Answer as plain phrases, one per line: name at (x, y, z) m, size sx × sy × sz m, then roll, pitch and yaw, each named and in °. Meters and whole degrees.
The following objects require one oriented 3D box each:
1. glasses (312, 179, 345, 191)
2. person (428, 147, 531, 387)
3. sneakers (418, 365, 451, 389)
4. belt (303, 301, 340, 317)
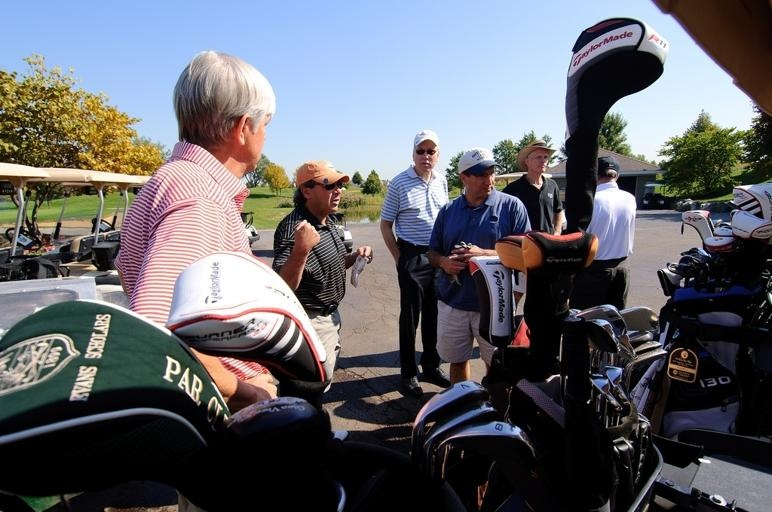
glasses at (-0.431, -0.518, 3.537) m, size 0.121 × 0.037 × 0.121 m, roll 6°, pitch -8°, yaw -41°
person at (0.743, 0.224, 3.907) m, size 0.887 × 2.119 × 0.693 m, roll 0°, pitch 16°, yaw 12°
sneakers at (0.487, 1.148, 4.668) m, size 0.426 × 0.168 × 0.148 m, roll 3°, pitch 4°, yaw 35°
belt at (-0.451, 0.375, 3.382) m, size 0.153 × 0.056 × 0.111 m, roll -7°, pitch -20°, yaw 27°
